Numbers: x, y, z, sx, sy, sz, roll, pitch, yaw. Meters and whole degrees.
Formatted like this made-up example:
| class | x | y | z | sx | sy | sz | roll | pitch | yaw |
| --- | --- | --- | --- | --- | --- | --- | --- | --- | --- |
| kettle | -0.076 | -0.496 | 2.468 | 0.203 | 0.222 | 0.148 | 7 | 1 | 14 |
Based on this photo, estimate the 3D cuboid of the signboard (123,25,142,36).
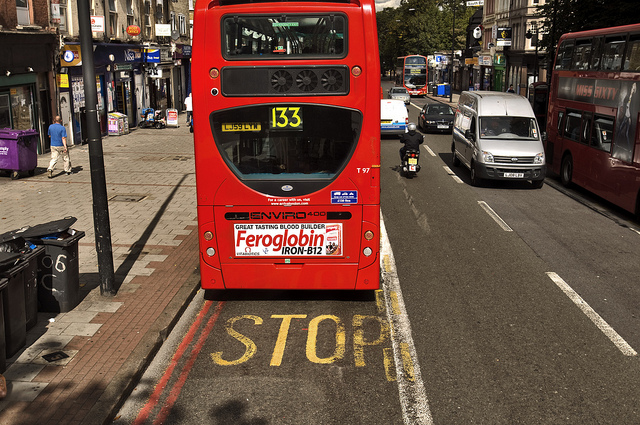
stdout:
| class | x | y | z | sx | sy | sz | roll | pitch | yaw |
| --- | --- | --- | --- | --- | --- | --- | --- | --- | --- |
| signboard | -13.529 | -13.290 | 33.123 | 1.135 | 0.284 | 1.198 | 0 | 6 | -2 |

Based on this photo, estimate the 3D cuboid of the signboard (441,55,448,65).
| class | x | y | z | sx | sy | sz | roll | pitch | yaw |
| --- | --- | --- | --- | --- | --- | --- | --- | --- | --- |
| signboard | 20.155 | -24.942 | 74.909 | 1.129 | 1.185 | 1.127 | 3 | 33 | 4 |

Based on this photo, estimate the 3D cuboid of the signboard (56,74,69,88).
| class | x | y | z | sx | sy | sz | roll | pitch | yaw |
| --- | --- | --- | --- | --- | --- | --- | --- | --- | --- |
| signboard | -13.950 | -7.208 | 24.922 | 0.651 | 0.711 | 0.649 | 0 | 10 | -4 |

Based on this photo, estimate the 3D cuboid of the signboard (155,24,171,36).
| class | x | y | z | sx | sy | sz | roll | pitch | yaw |
| --- | --- | --- | --- | --- | --- | --- | --- | --- | --- |
| signboard | -12.873 | -15.064 | 37.812 | 1.014 | 0.824 | 1.444 | -4 | 20 | -10 |

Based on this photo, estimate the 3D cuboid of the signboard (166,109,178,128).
| class | x | y | z | sx | sy | sz | roll | pitch | yaw |
| --- | --- | --- | --- | --- | --- | --- | --- | --- | --- |
| signboard | -11.606 | -7.410 | 35.994 | 0.857 | 1.283 | 0.662 | -3 | 19 | -8 |

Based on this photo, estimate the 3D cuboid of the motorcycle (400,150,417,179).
| class | x | y | z | sx | sy | sz | roll | pitch | yaw |
| --- | --- | --- | --- | --- | --- | --- | --- | --- | --- |
| motorcycle | 3.918 | -2.142 | 20.216 | 0.690 | 1.206 | 0.657 | 10 | 21 | 29 |

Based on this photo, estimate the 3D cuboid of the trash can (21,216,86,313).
| class | x | y | z | sx | sy | sz | roll | pitch | yaw |
| --- | --- | --- | --- | --- | --- | --- | --- | --- | --- |
| trash can | -4.713 | 0.926 | 8.370 | 0.882 | 1.662 | 0.846 | 1 | -4 | -12 |

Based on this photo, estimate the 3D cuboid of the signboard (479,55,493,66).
| class | x | y | z | sx | sy | sz | roll | pitch | yaw |
| --- | --- | --- | --- | --- | --- | --- | --- | --- | --- |
| signboard | 21.017 | -19.481 | 58.746 | 1.440 | 1.239 | 4.427 | 5 | 21 | 16 |

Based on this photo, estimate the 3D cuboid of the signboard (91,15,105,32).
| class | x | y | z | sx | sy | sz | roll | pitch | yaw |
| --- | --- | --- | --- | --- | --- | --- | --- | --- | --- |
| signboard | -13.412 | -11.500 | 27.813 | 0.673 | 0.834 | 0.879 | -11 | 22 | -27 |

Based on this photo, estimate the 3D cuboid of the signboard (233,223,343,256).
| class | x | y | z | sx | sy | sz | roll | pitch | yaw |
| --- | --- | --- | --- | --- | --- | --- | --- | --- | --- |
| signboard | -0.572 | 0.502 | 8.349 | 1.913 | 0.565 | 0.101 | -1 | 18 | -1 |

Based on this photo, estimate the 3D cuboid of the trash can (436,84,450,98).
| class | x | y | z | sx | sy | sz | roll | pitch | yaw |
| --- | --- | --- | --- | --- | --- | --- | --- | --- | --- |
| trash can | 19.342 | -19.262 | 72.028 | 1.913 | 1.578 | 2.085 | 20 | 32 | 41 |

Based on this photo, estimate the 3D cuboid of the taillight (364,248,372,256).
| class | x | y | z | sx | sy | sz | roll | pitch | yaw |
| --- | --- | --- | --- | --- | --- | --- | --- | --- | --- |
| taillight | 0.869 | 0.725 | 8.397 | 0.127 | 0.148 | 0.007 | -1 | 18 | -2 |

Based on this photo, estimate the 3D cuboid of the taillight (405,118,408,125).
| class | x | y | z | sx | sy | sz | roll | pitch | yaw |
| --- | --- | --- | --- | --- | --- | --- | --- | --- | --- |
| taillight | 5.736 | -6.122 | 30.448 | 0.032 | 0.362 | 0.434 | 6 | 21 | 21 |

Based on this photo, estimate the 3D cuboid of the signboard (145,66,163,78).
| class | x | y | z | sx | sy | sz | roll | pitch | yaw |
| --- | --- | --- | --- | --- | --- | --- | --- | --- | --- |
| signboard | -13.931 | -11.781 | 38.271 | 1.710 | 0.866 | 1.443 | 18 | 27 | 42 |

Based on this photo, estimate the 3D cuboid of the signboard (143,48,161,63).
| class | x | y | z | sx | sy | sz | roll | pitch | yaw |
| --- | --- | --- | --- | --- | --- | --- | --- | --- | --- |
| signboard | -13.391 | -12.594 | 36.763 | 1.014 | 1.018 | 1.066 | -1 | 24 | -10 |

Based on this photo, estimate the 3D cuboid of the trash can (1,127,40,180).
| class | x | y | z | sx | sy | sz | roll | pitch | yaw |
| --- | --- | --- | --- | --- | --- | --- | --- | --- | --- |
| trash can | -12.124 | -2.364 | 18.567 | 1.385 | 1.960 | 0.883 | -14 | 22 | -34 |

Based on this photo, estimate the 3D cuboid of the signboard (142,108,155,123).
| class | x | y | z | sx | sy | sz | roll | pitch | yaw |
| --- | --- | --- | --- | --- | --- | --- | --- | --- | --- |
| signboard | -13.024 | -7.412 | 35.525 | 0.927 | 1.387 | 0.467 | 2 | 2 | -3 |
